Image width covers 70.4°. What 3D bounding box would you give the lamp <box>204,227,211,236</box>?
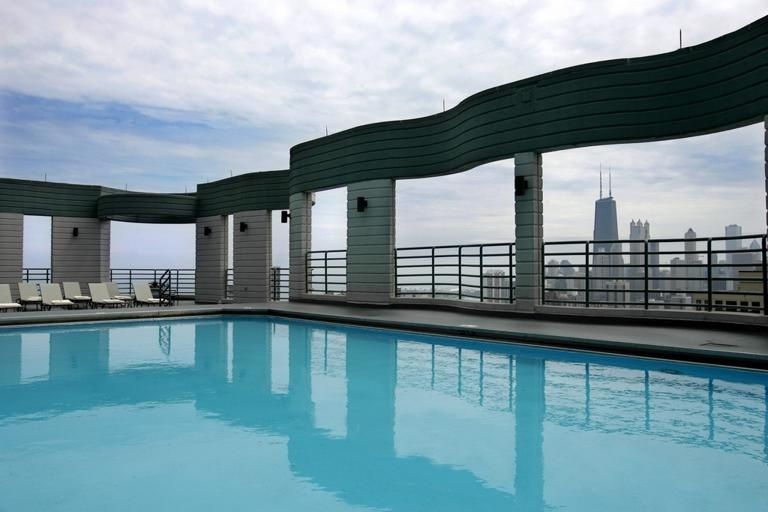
[{"bbox_3d":[-6.751,-0.931,20.548,0.433,0.326,0.181,5,15,31],"label":"lamp"}]

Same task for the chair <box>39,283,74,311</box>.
[{"bbox_3d":[-9.515,1.127,15.664,0.849,0.600,1.171,2,-1,-44],"label":"chair"}]

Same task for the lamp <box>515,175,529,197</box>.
[{"bbox_3d":[3.041,-1.539,11.980,0.287,0.460,0.116,-1,14,1],"label":"lamp"}]

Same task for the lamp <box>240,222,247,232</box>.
[{"bbox_3d":[-4.874,-0.998,18.826,0.276,0.326,0.204,-5,13,-16],"label":"lamp"}]

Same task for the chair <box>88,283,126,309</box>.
[{"bbox_3d":[-8.280,1.132,16.048,1.162,0.561,0.828,-2,-3,45],"label":"chair"}]

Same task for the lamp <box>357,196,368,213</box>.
[{"bbox_3d":[-0.610,-1.393,14.742,0.316,0.436,0.278,-2,13,-3],"label":"lamp"}]

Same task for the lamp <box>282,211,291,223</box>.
[{"bbox_3d":[-3.127,-1.230,17.229,0.365,0.366,0.172,1,13,12],"label":"lamp"}]
